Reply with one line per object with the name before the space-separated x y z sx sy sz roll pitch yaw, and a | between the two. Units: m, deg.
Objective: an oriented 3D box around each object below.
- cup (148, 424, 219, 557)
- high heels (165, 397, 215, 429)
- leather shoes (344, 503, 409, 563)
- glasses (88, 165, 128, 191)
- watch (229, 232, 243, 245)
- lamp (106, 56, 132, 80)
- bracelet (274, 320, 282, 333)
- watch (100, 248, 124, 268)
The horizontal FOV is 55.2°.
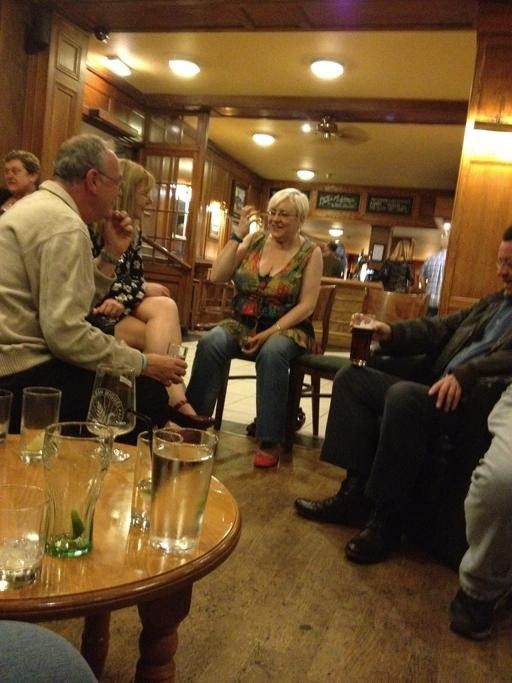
cup | -0.112 0.207 0.699 0.089 0.168 0.155 7 5 -6
high heels | -0.298 0.310 2.097 0.243 0.085 0.081 18 12 10
leather shoes | 0.407 0.665 1.711 0.100 0.156 0.258 21 1 39
glasses | -0.487 -0.538 1.600 0.093 0.095 0.028 -4 24 10
watch | -0.122 -0.600 2.782 0.073 0.040 0.054 51 -4 -41
lamp | -1.665 -3.304 5.882 0.147 0.058 0.247 31 9 -1
bracelet | 0.116 -0.076 2.572 0.018 0.048 0.036 8 4 -17
watch | -0.607 -0.345 2.059 0.079 0.037 0.090 18 0 12
